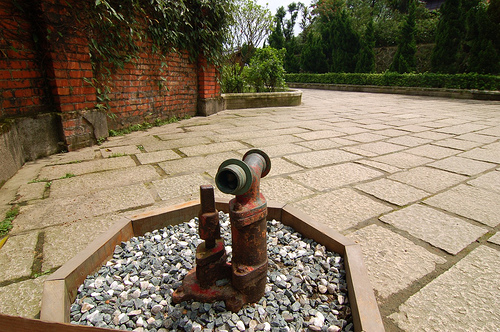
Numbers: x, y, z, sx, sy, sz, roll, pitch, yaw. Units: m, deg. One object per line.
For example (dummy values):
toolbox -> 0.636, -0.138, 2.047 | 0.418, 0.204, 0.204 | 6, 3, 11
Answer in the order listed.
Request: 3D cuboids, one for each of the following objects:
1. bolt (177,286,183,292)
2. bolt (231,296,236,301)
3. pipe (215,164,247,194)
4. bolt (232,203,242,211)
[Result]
bolt -> -0.503, 0.880, 2.131 | 0.027, 0.008, 0.027 | 9, 17, 22
bolt -> -0.113, 0.921, 2.074 | 0.031, 0.020, 0.023 | -2, 23, -2
pipe -> -0.127, 0.087, 2.016 | 0.185, 0.185, 0.172 | 8, 13, 13
bolt -> -0.085, 0.279, 2.035 | 0.047, 0.028, 0.047 | 2, 13, 8
